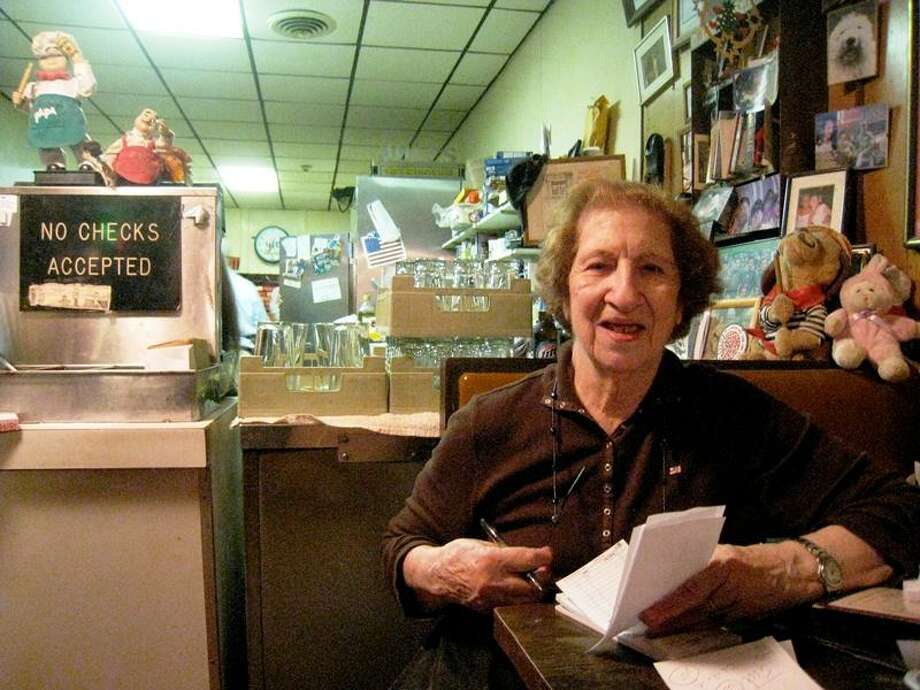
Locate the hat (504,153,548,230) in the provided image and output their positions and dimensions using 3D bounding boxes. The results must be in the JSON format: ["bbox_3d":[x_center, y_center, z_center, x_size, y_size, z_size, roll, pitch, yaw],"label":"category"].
[{"bbox_3d":[0.257,-0.626,3.180,0.102,0.277,0.216,18,13,14],"label":"hat"}]

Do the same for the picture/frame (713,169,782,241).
[{"bbox_3d":[1.030,-0.494,2.765,0.041,0.203,0.290,11,-7,-16],"label":"picture/frame"}]

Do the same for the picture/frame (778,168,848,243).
[{"bbox_3d":[1.155,-0.445,2.528,0.028,0.238,0.267,6,-8,-29],"label":"picture/frame"}]

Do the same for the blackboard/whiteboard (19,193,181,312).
[{"bbox_3d":[-1.306,-0.335,2.839,0.585,0.438,0.038,-4,5,-6],"label":"blackboard/whiteboard"}]

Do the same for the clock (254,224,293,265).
[{"bbox_3d":[-2.760,-1.450,11.412,0.513,0.591,0.262,-5,5,-9],"label":"clock"}]

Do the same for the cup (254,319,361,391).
[{"bbox_3d":[-0.544,0.026,2.890,0.286,0.192,0.284,0,0,0],"label":"cup"}]

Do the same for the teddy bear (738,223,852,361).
[{"bbox_3d":[1.079,-0.157,2.532,0.356,0.577,0.371,-3,22,20],"label":"teddy bear"}]

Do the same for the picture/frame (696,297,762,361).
[{"bbox_3d":[0.921,-0.044,2.717,0.061,0.229,0.220,19,38,-11],"label":"picture/frame"}]

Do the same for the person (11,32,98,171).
[{"bbox_3d":[-1.618,-0.978,3.116,0.290,0.610,0.701,-6,6,-25],"label":"person"}]
